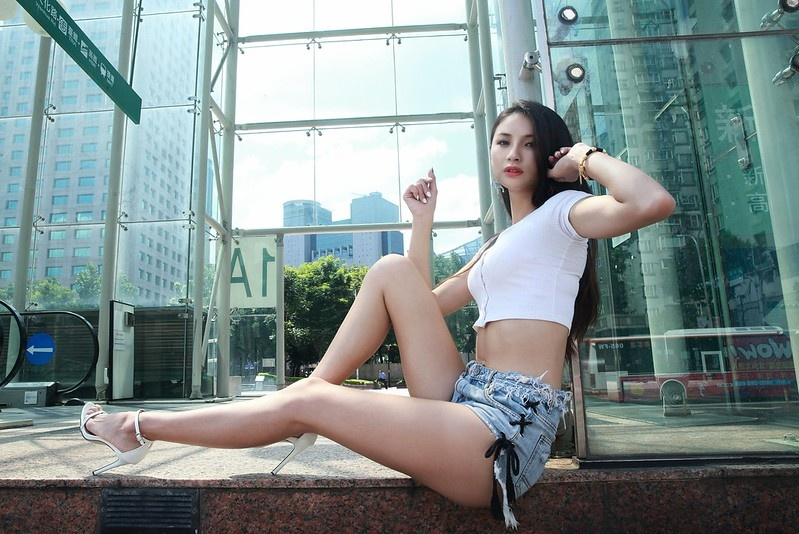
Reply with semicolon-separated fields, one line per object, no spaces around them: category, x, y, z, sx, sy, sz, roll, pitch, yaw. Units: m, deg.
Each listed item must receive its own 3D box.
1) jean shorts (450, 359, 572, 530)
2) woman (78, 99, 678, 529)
jean shorts;0.520;0.753;2.429;0.283;0.659;0.501;10;-4;-38
woman;0.112;0.201;2.571;2.070;1.928;0.673;-3;-10;8
